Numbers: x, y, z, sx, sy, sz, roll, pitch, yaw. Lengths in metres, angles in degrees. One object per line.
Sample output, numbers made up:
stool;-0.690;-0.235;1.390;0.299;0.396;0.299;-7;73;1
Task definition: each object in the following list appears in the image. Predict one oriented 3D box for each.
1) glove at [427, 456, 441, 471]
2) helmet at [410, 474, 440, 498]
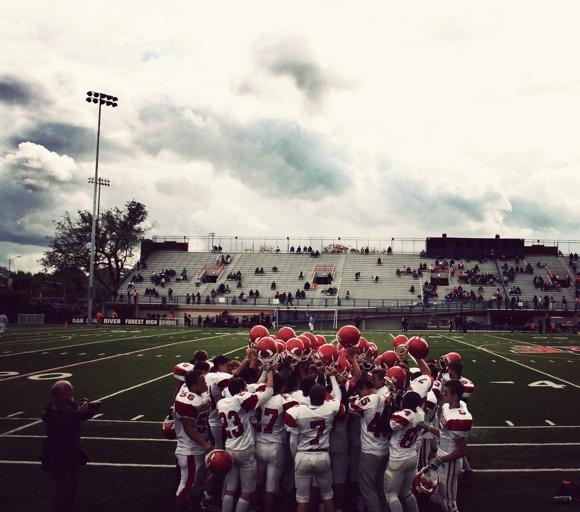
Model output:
glove;1.959;2.854;7.756;0.157;0.085;0.212;40;-37;-19
helmet;1.892;3.197;7.831;0.323;0.337;0.329;1;-1;44
